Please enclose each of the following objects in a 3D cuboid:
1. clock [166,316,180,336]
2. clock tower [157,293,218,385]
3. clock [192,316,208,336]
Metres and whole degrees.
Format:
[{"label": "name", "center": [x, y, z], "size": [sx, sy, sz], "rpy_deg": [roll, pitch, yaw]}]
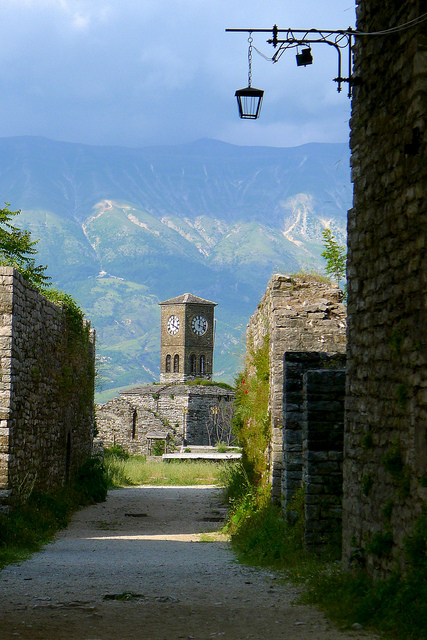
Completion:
[{"label": "clock", "center": [-2.442, 0.267, 80.329], "size": [0.070, 0.808, 0.791], "rpy_deg": [4, 36, -29]}, {"label": "clock tower", "center": [-1.616, 1.024, 80.834], "size": [3.237, 5.607, 3.798], "rpy_deg": [2, -3, -3]}, {"label": "clock", "center": [-0.864, 0.334, 80.823], "size": [0.418, 1.149, 1.588], "rpy_deg": [0, -4, 26]}]
